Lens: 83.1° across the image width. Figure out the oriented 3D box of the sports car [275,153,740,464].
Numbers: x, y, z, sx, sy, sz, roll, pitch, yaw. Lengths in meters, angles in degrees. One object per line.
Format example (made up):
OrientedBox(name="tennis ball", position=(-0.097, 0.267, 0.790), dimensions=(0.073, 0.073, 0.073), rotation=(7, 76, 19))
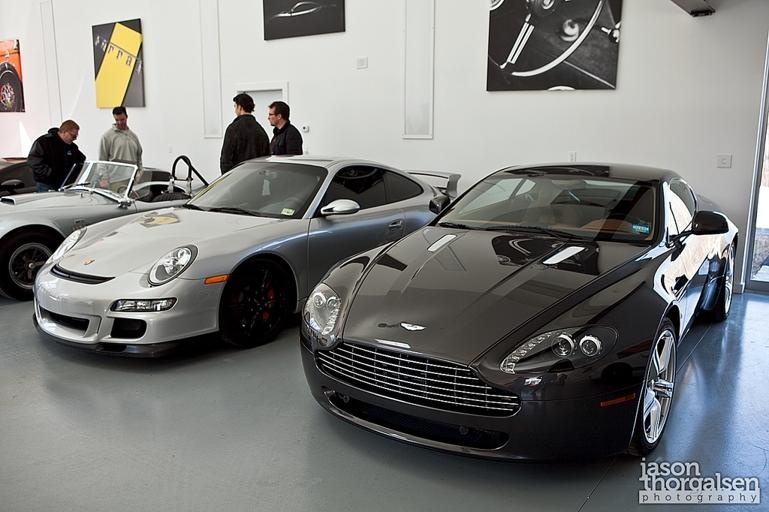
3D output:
OrientedBox(name="sports car", position=(1.492, -0.049, 3.974), dimensions=(2.347, 1.353, 4.600), rotation=(5, 16, 39))
